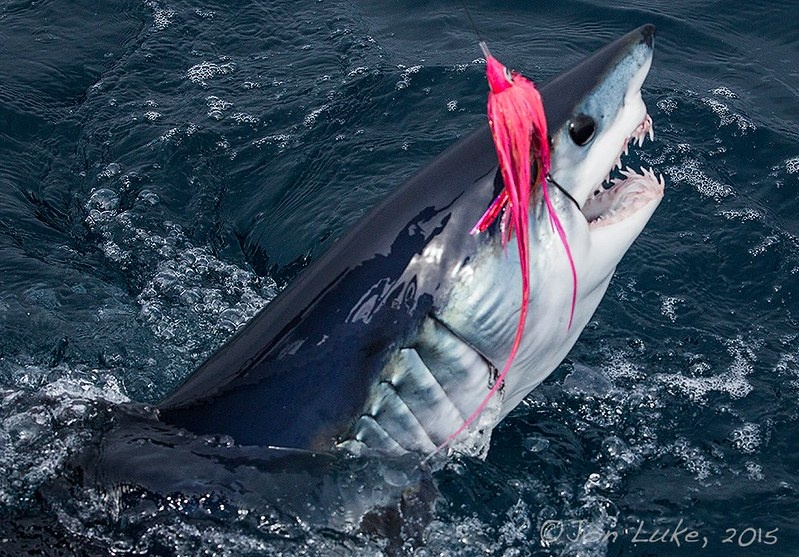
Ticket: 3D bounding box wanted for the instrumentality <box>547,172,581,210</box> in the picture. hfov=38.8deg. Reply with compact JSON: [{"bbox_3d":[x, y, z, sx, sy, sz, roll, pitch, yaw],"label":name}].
[{"bbox_3d":[0.868,-0.466,6.004,0.269,0.062,0.055,38,-11,-11],"label":"instrumentality"}]
